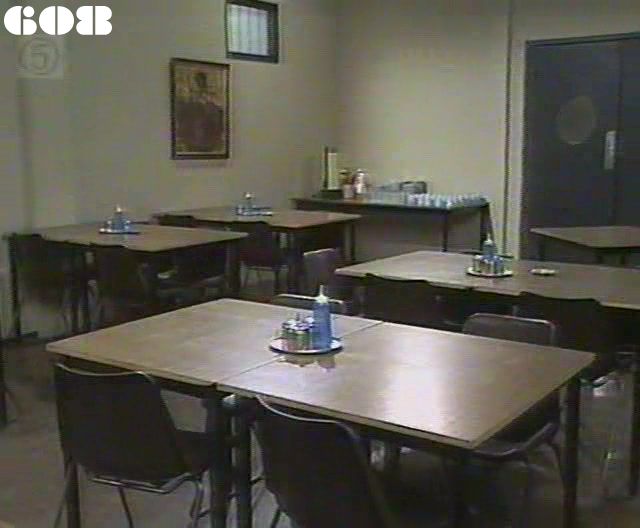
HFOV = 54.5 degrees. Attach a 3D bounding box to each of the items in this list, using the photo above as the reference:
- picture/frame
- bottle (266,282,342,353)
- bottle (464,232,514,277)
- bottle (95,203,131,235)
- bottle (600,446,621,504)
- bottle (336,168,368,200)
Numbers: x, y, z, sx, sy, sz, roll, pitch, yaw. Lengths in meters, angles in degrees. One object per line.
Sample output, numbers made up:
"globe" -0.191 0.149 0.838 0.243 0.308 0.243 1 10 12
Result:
"picture/frame" -0.440 -0.564 2.286 0.279 0.380 0.032 7 13 22
"bottle" -0.046 0.123 1.729 0.201 0.168 0.180 4 12 15
"bottle" 0.556 -0.027 2.018 0.136 0.136 0.130 -11 14 -30
"bottle" -0.827 -0.178 2.485 0.113 0.117 0.111 7 9 28
"bottle" 0.931 0.678 1.998 0.061 0.166 0.046 -10 -30 45
"bottle" 0.113 -0.272 2.071 0.112 0.102 0.067 15 22 43
